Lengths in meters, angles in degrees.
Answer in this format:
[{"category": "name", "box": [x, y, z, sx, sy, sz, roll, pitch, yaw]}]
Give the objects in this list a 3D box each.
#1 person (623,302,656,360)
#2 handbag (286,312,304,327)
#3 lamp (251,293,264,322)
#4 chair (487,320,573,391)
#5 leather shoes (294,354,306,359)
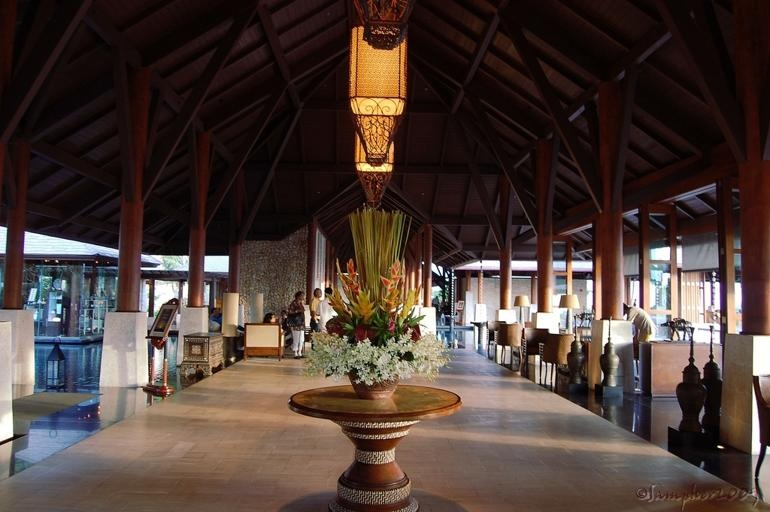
[{"category": "person", "box": [4.824, 1.364, 9.926, 0.472, 0.942, 1.284, -2, -8, 26]}, {"category": "handbag", "box": [-1.981, 1.383, 11.731, 0.281, 0.318, 0.144, 1, -6, -2]}, {"category": "lamp", "box": [-4.094, 1.585, 17.199, 0.350, 0.955, 1.168, 3, -8, -14]}, {"category": "chair", "box": [3.235, 2.095, 11.736, 0.800, 1.189, 3.047, 2, -8, -3]}, {"category": "leather shoes", "box": [-1.970, 2.275, 12.115, 0.122, 0.092, 0.213, 5, -17, -22]}]
